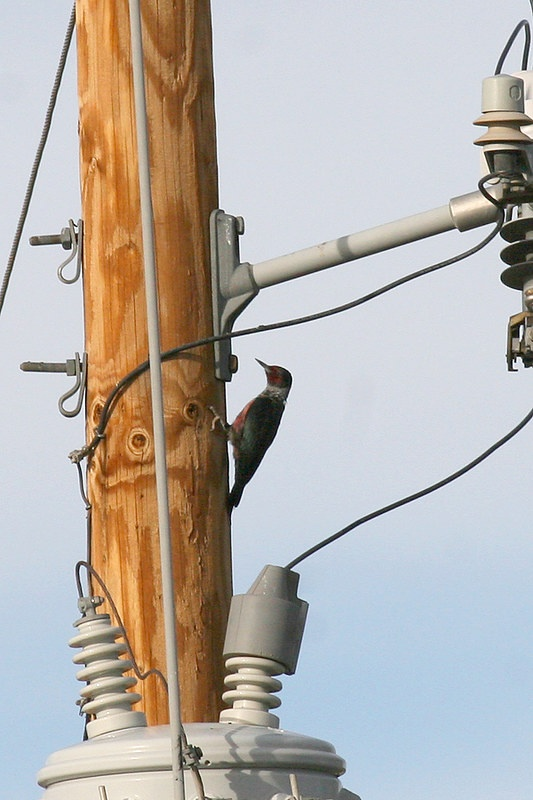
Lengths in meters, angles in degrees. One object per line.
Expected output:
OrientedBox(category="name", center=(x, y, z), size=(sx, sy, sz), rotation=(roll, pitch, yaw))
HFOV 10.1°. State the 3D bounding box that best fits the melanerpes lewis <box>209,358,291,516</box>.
OrientedBox(category="melanerpes lewis", center=(-0.023, 0.074, 6.907), size=(0.175, 0.093, 0.325), rotation=(34, -71, -24))
